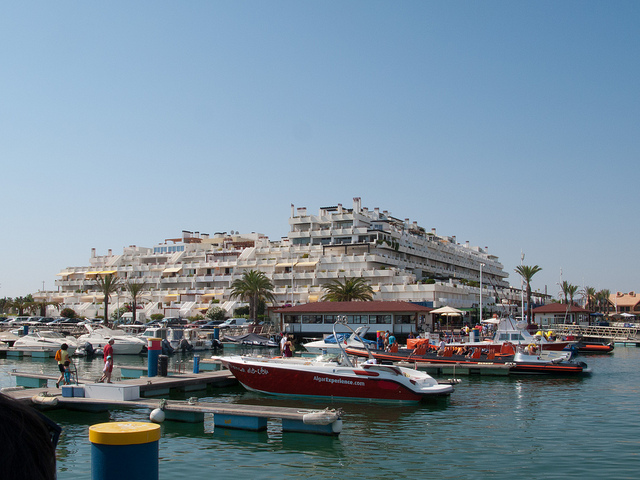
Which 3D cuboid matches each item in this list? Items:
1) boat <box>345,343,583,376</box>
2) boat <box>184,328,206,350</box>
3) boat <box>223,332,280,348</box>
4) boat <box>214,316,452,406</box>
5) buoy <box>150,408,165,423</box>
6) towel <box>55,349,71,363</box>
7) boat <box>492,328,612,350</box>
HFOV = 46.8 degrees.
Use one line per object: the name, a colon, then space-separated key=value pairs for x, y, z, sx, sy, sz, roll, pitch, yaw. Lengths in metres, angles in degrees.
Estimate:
boat: x=8.585 y=6.888 z=42.459 sx=13.369 sy=1.991 sz=2.976 roll=0 pitch=-8 yaw=14
boat: x=-10.936 y=8.576 z=64.155 sx=1.766 sy=1.917 sz=2.283 roll=-2 pitch=-13 yaw=9
boat: x=-6.070 y=9.186 z=65.275 sx=5.857 sy=1.324 sz=1.910 roll=-1 pitch=-4 yaw=44
boat: x=0.281 y=5.909 z=34.295 sx=11.992 sy=3.474 sz=3.244 roll=-2 pitch=-12 yaw=21
buoy: x=-6.251 y=6.770 z=28.443 sx=0.547 sy=0.552 sz=0.691 roll=2 pitch=-11 yaw=-12
towel: x=-11.486 y=5.121 z=32.682 sx=0.483 sy=0.454 sz=0.963 roll=10 pitch=-15 yaw=-43
boat: x=12.238 y=6.470 z=47.445 sx=7.693 sy=1.583 sz=2.062 roll=0 pitch=-6 yaw=-3
